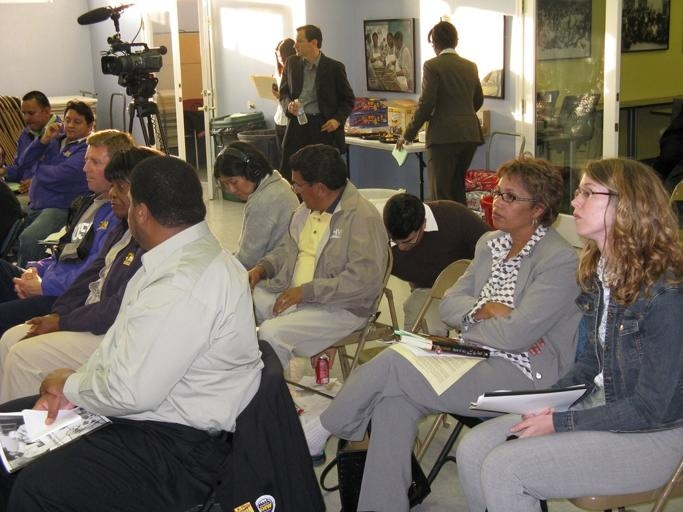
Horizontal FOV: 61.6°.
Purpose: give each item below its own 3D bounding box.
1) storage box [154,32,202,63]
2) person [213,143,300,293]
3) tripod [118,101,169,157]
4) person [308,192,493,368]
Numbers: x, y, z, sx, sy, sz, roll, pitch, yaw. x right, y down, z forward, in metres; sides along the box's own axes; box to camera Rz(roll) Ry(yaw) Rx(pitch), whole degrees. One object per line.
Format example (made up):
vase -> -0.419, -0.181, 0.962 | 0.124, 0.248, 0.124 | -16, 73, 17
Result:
storage box -> -2.702, -3.488, 9.461 | 0.357, 0.518, 0.969 | 2, 15, 18
person -> -0.637, -0.244, 3.821 | 0.609, 1.046, 0.579 | -7, 31, -16
tripod -> -2.296, -1.462, 6.930 | 0.601, 0.865, 0.634 | -7, 10, -17
person -> 0.603, 0.068, 3.758 | 0.922, 1.354, 0.985 | 4, 18, 21
